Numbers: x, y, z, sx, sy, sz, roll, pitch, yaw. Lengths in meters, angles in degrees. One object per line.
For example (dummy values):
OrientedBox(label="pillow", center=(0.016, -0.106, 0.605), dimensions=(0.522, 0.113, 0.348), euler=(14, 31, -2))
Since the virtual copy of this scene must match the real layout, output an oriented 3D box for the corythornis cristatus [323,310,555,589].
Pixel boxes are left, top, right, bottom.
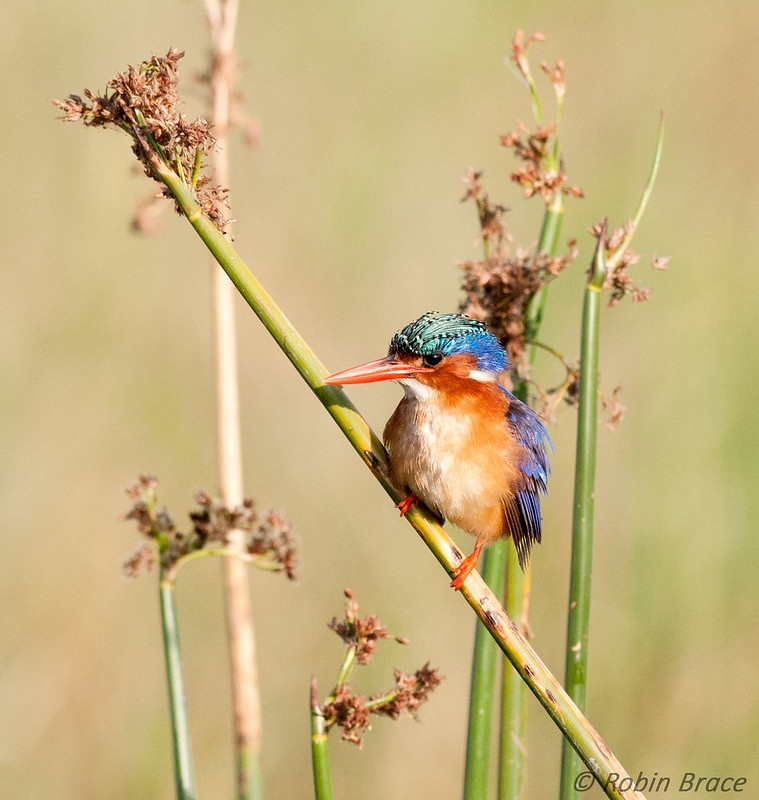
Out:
OrientedBox(label="corythornis cristatus", center=(0.322, 0.107, 4.191), dimensions=(0.940, 0.587, 1.040), euler=(-1, -79, -39))
